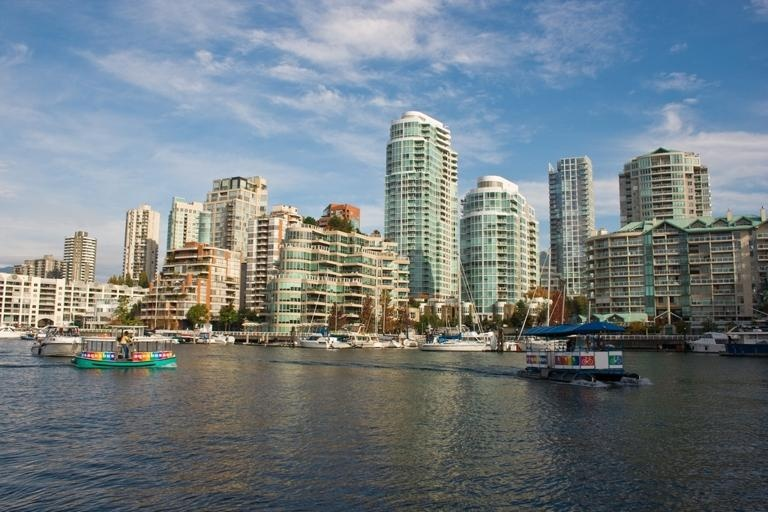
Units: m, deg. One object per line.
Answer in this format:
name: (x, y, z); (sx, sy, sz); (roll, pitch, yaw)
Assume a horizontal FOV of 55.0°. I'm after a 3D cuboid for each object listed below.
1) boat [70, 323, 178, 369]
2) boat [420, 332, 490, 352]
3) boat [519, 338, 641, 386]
boat: (-30.780, 11.183, 91.008); (13.574, 4.983, 5.003); (0, 1, 16)
boat: (14.246, 17.175, 147.872); (14.479, 3.817, 9.251); (0, -3, 10)
boat: (20.708, 11.010, 79.643); (7.588, 4.678, 15.866); (1, -3, -23)
